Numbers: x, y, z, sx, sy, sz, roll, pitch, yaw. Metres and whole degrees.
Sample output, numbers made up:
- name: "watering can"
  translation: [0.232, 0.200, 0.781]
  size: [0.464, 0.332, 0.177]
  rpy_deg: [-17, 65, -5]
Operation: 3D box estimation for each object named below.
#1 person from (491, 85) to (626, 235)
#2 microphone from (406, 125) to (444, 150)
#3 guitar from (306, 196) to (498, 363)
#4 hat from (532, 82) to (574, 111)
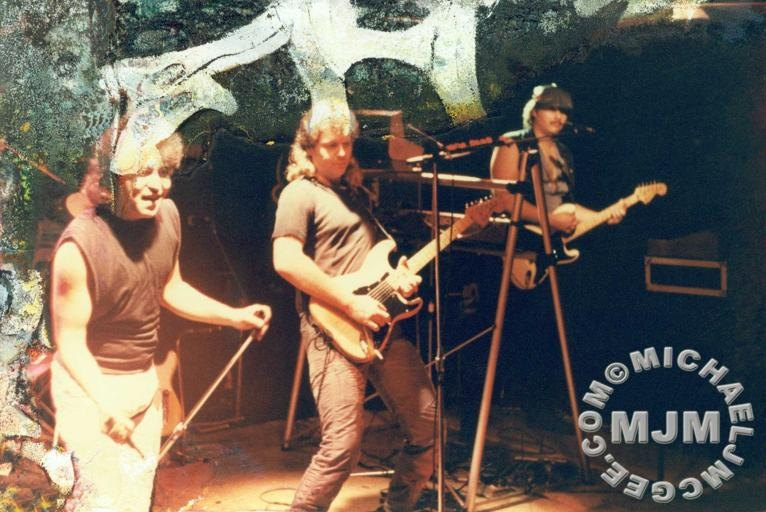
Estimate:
- name: "person"
  translation: [1.146, -0.667, 7.247]
  size: [0.607, 0.200, 1.311]
  rpy_deg: [1, 99, 1]
- name: "microphone"
  translation: [0.282, -0.816, 7.096]
  size: [0.291, 0.041, 0.077]
  rpy_deg: [32, 46, 3]
- name: "guitar"
  translation: [0.081, 0.150, 6.820]
  size: [1.150, 0.417, 0.140]
  rpy_deg: [-41, 6, -29]
- name: "hat"
  translation: [1.158, -1.068, 7.127]
  size: [0.235, 0.182, 0.199]
  rpy_deg: [161, 123, -72]
